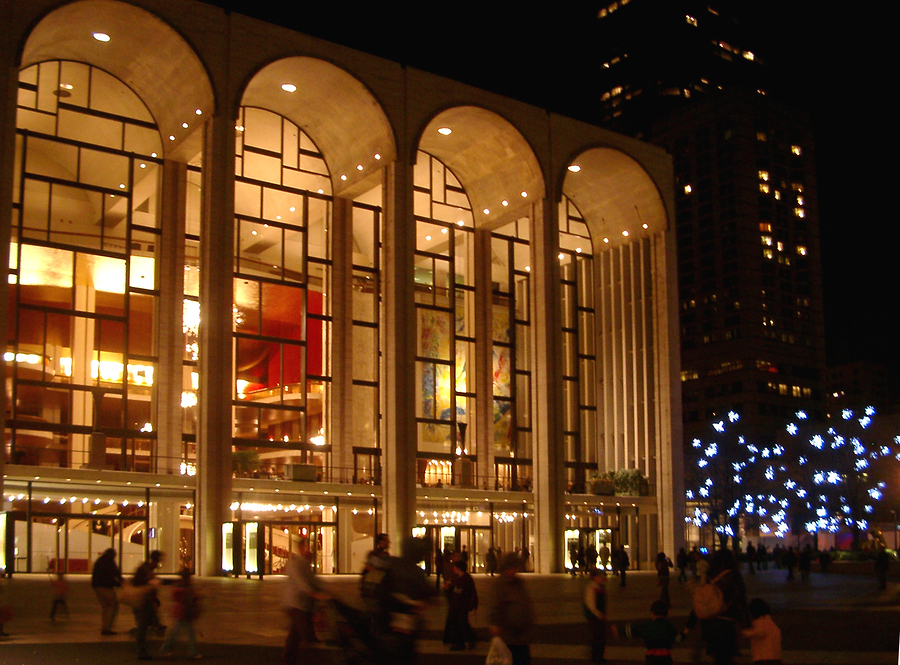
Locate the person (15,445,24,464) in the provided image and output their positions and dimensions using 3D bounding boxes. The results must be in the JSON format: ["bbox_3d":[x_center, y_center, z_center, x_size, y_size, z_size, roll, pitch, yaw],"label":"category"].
[{"bbox_3d":[-16.847,4.719,46.887,0.362,0.766,0.614,4,-17,-19],"label":"person"}]

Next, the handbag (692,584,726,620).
[{"bbox_3d":[5.145,5.341,23.756,0.479,0.691,0.386,-24,-40,22],"label":"handbag"}]
